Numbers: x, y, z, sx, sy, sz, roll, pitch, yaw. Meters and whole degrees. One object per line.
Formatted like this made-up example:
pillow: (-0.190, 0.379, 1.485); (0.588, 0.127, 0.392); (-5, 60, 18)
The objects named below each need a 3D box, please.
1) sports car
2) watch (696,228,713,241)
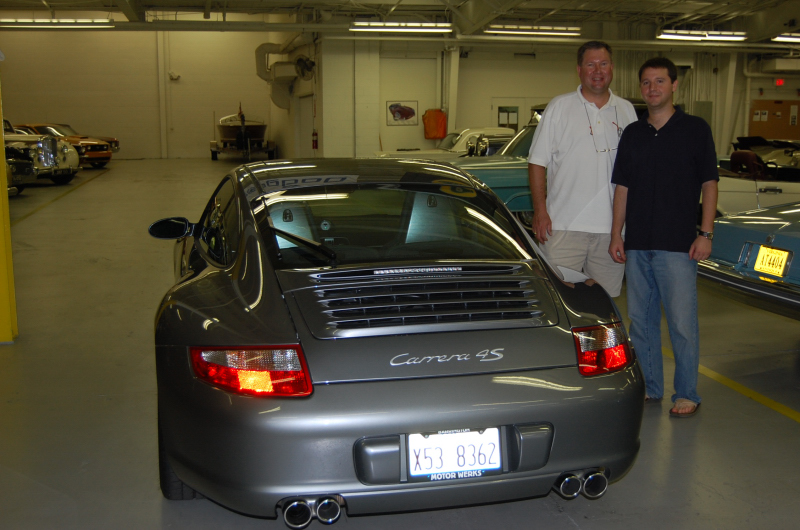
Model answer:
sports car: (-0.312, 0.062, 3.339); (1.452, 0.840, 2.633); (0, 11, -16)
watch: (1.966, -0.206, 3.602); (0.094, 0.097, 0.093); (6, -8, 6)
